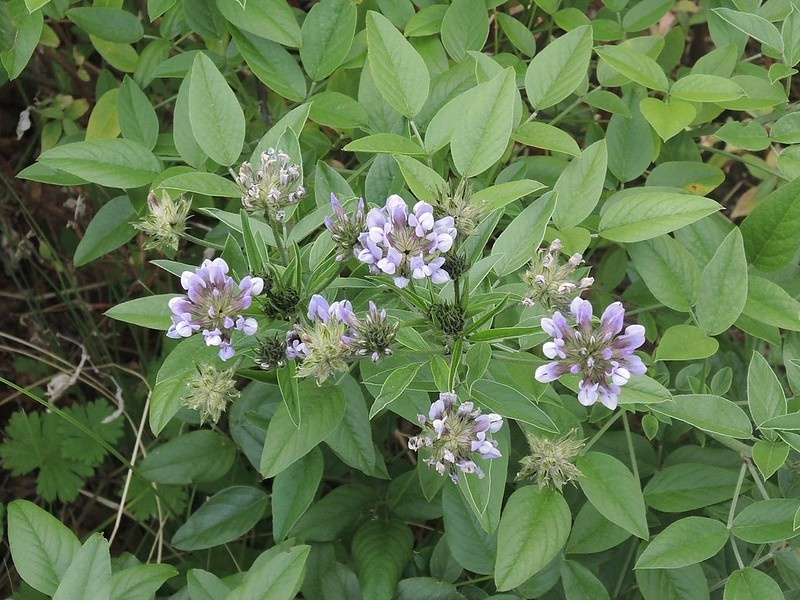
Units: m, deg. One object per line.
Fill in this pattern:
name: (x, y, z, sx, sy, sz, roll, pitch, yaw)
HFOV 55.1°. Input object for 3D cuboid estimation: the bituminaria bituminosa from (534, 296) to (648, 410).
bituminaria bituminosa: (0.676, 0.171, 2.636, 0.378, 0.146, 0.371, 42, 106, 11)

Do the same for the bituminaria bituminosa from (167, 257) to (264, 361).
bituminaria bituminosa: (-0.611, 0.022, 2.557, 0.291, 0.166, 0.277, 21, 61, -1)

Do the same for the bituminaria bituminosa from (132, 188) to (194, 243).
bituminaria bituminosa: (-0.925, -0.314, 2.977, 0.213, 0.262, 0.231, -8, 66, -16)

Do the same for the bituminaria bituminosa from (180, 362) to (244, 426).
bituminaria bituminosa: (-0.660, 0.313, 2.690, 0.170, 0.144, 0.198, 37, 62, 7)

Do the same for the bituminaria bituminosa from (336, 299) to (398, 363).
bituminaria bituminosa: (-0.099, 0.111, 2.549, 0.195, 0.132, 0.197, -1, 76, -3)

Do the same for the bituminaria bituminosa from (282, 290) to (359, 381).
bituminaria bituminosa: (-0.257, 0.130, 2.540, 0.299, 0.167, 0.270, -9, 81, 1)

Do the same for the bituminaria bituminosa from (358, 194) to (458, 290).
bituminaria bituminosa: (0.022, -0.176, 2.595, 0.318, 0.120, 0.314, 31, 62, 4)
